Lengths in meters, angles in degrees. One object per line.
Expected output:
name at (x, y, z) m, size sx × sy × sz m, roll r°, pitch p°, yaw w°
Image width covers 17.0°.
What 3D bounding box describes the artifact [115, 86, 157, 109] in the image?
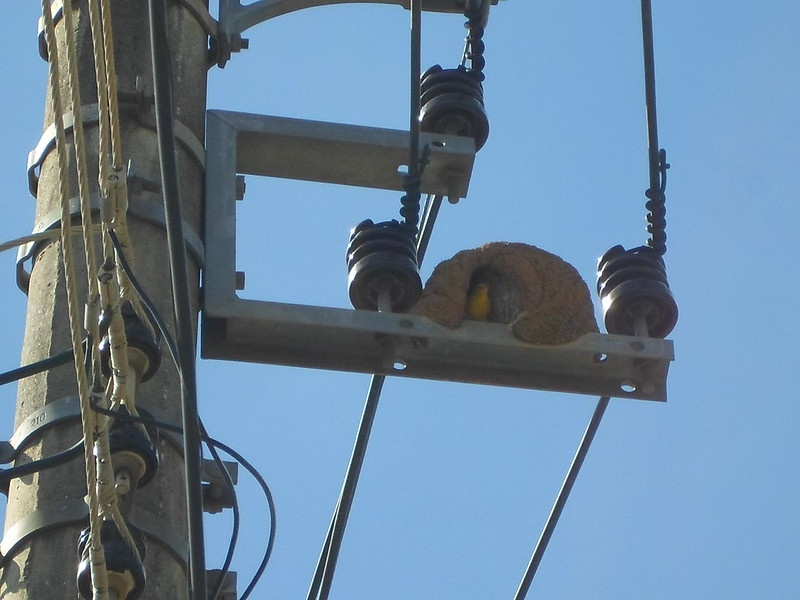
artifact at (-0.985, -0.776, 10.103) m, size 0.138 × 0.100 × 0.063 m, roll 10°, pitch -59°, yaw 6°
